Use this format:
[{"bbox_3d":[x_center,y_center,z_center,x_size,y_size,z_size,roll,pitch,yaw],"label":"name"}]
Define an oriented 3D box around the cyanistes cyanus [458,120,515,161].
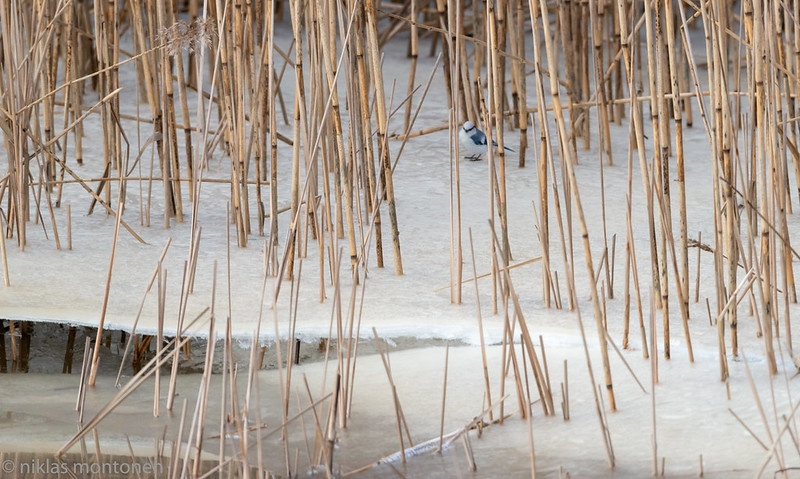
[{"bbox_3d":[0.396,-0.459,5.779,0.259,0.153,0.118,-8,19,-26],"label":"cyanistes cyanus"}]
